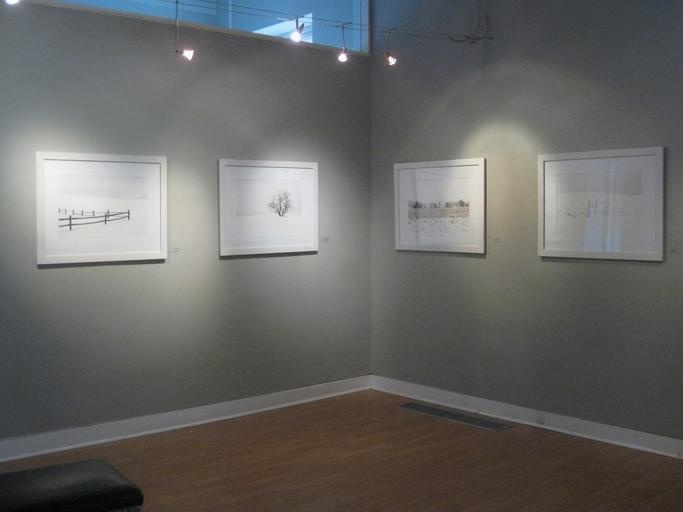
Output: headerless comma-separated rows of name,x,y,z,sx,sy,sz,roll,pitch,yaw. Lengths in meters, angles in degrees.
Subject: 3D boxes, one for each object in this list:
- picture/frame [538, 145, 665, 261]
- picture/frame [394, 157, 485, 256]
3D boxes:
picture/frame,2.413,-0.474,5.057,1.005,1.092,0.055,3,30,30
picture/frame,1.118,-0.548,5.928,0.987,1.053,0.044,2,3,37
